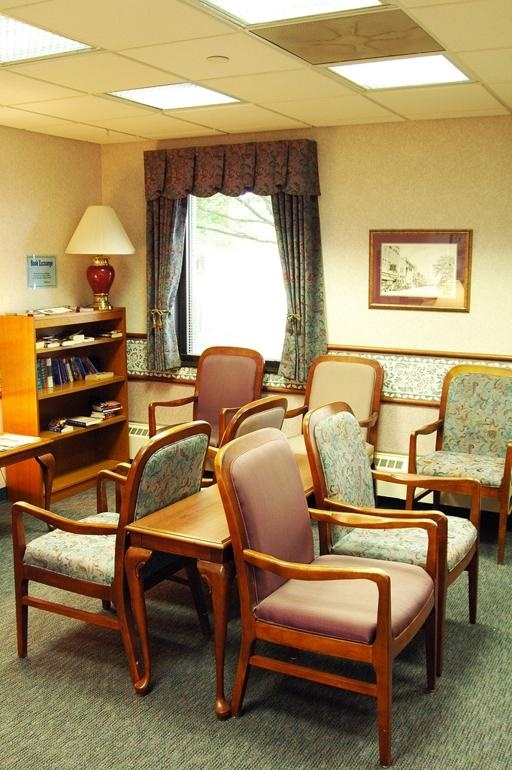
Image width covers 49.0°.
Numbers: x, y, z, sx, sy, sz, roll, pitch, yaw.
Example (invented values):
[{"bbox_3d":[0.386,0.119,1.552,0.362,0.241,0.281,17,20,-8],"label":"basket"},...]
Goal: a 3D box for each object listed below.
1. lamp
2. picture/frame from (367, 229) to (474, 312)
[{"bbox_3d":[-1.348,-1.144,4.866,0.542,1.009,0.710,0,1,-16],"label":"lamp"},{"bbox_3d":[1.226,-0.849,4.101,0.619,0.473,0.015,6,12,32],"label":"picture/frame"}]
